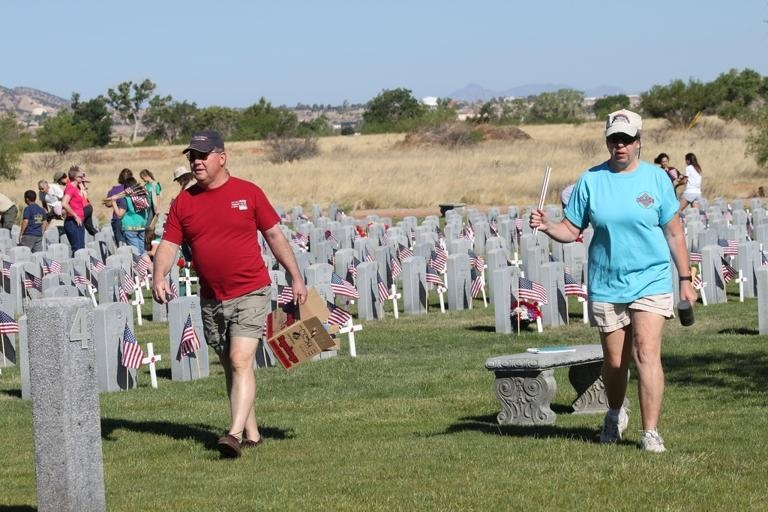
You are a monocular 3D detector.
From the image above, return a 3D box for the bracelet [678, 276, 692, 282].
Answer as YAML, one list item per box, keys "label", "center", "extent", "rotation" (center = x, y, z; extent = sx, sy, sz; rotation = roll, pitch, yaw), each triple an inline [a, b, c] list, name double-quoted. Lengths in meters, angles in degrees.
- label: "bracelet"
  center: [3.518, 0.254, 16.481]
  extent: [0.119, 0.045, 0.118]
  rotation: [1, 1, 28]

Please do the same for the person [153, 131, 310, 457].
- label: "person"
  center: [-1.890, 0.409, 16.835]
  extent: [1.555, 3.732, 1.087]
  rotation: [5, 15, 22]

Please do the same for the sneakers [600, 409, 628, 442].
- label: "sneakers"
  center: [2.724, 2.065, 16.873]
  extent: [0.254, 0.292, 0.684]
  rotation: [9, 14, 11]

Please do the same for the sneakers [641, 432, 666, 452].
- label: "sneakers"
  center: [3.175, 2.167, 16.508]
  extent: [0.174, 0.186, 0.309]
  rotation: [-2, 5, -35]

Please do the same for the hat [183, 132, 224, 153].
- label: "hat"
  center: [-2.128, -1.364, 16.730]
  extent: [0.283, 0.199, 0.402]
  rotation: [-1, -2, 36]

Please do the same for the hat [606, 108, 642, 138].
- label: "hat"
  center: [2.790, -1.546, 16.407]
  extent: [0.392, 0.308, 0.279]
  rotation: [2, 14, 9]
